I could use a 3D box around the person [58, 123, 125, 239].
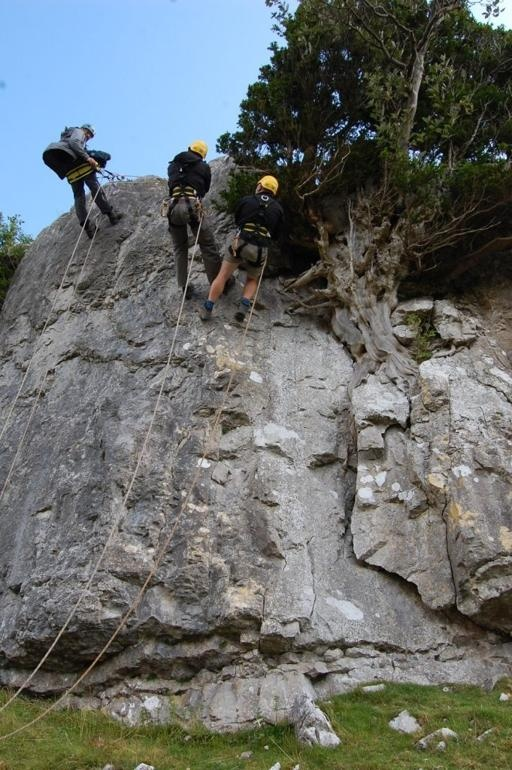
[{"bbox_3d":[-2.455,-3.011,10.799,0.592,1.295,1.274,1,-15,8],"label":"person"}]

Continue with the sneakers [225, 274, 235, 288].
[{"bbox_3d":[-0.327,-1.340,9.590,0.062,0.154,0.115,20,-17,-14],"label":"sneakers"}]

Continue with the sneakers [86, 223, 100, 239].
[{"bbox_3d":[-2.517,-2.342,11.280,0.244,0.224,0.198,1,-7,41],"label":"sneakers"}]

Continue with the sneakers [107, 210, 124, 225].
[{"bbox_3d":[-2.152,-2.545,11.253,0.099,0.214,0.208,24,-25,24],"label":"sneakers"}]

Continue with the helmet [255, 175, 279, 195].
[{"bbox_3d":[0.165,-2.463,9.155,0.225,0.275,0.257,14,-61,-26],"label":"helmet"}]

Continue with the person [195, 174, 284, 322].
[{"bbox_3d":[-0.099,-1.742,9.132,0.798,1.875,0.891,10,-17,-24],"label":"person"}]

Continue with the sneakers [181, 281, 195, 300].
[{"bbox_3d":[-0.847,-1.217,9.476,0.104,0.122,0.280,0,-14,-7],"label":"sneakers"}]

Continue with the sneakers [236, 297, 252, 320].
[{"bbox_3d":[-0.165,-0.965,9.234,0.120,0.349,0.161,17,-56,0],"label":"sneakers"}]
